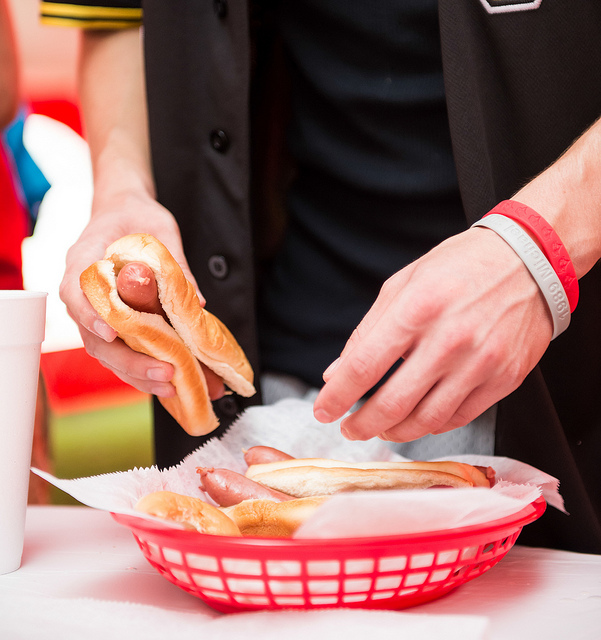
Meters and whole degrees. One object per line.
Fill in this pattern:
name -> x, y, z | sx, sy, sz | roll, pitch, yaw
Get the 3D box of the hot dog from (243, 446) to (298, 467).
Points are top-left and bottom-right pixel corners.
hot dog -> -0.060, 0.272, 1.360 | 0.094, 0.029, 0.040 | 5, 3, 6

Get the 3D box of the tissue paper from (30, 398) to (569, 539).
tissue paper -> 0.019, 0.286, 1.301 | 0.684, 0.116, 0.752 | 2, 0, 11

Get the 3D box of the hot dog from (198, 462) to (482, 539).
hot dog -> 0.042, 0.273, 1.144 | 0.378, 0.055, 0.181 | 0, -2, 10

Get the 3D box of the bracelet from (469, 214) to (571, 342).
bracelet -> 0.409, -0.077, 1.250 | 0.188, 0.171, 0.193 | 48, 46, 8
